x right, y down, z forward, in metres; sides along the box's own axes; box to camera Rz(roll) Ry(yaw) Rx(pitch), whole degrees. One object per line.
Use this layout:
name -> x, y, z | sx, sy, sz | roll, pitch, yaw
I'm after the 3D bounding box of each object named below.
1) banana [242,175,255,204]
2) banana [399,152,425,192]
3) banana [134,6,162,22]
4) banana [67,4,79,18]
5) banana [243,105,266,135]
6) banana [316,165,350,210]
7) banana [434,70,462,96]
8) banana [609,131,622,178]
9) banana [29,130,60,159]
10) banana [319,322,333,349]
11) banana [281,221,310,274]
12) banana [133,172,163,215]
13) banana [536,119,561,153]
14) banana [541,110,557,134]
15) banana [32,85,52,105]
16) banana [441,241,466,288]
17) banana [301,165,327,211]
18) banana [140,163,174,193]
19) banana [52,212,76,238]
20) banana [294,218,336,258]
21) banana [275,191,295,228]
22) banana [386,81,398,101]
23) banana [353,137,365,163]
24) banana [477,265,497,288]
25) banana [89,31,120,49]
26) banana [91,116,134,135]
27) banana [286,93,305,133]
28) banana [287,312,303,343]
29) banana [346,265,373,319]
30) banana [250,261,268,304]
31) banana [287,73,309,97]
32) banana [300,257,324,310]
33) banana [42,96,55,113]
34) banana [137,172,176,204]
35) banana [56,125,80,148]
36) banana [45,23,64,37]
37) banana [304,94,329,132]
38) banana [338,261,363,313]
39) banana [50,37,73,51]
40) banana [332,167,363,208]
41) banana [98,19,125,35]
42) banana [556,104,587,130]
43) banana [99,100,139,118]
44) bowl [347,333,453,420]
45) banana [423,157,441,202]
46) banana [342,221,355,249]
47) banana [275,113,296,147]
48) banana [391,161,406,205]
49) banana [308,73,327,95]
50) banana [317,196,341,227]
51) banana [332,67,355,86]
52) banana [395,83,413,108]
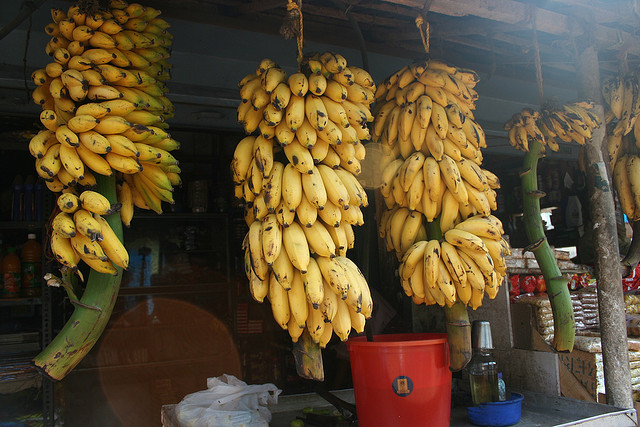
banana -> -0.362, -0.114, 2.560 | 0.053, 0.154, 0.041 | -16, -12, 4
banana -> 0.486, -0.229, 2.736 | 0.138, 0.215, 0.072 | -3, -9, 10
banana -> -0.922, -1.056, 2.758 | 0.121, 0.093, 0.055 | 1, -10, -13
banana -> -1.276, -1.045, 2.680 | 0.043, 0.061, 0.077 | 18, -1, -14
banana -> -0.344, -0.471, 2.634 | 0.102, 0.091, 0.319 | -10, -11, -12
banana -> 0.069, -0.129, 2.528 | 0.078, 0.267, 0.088 | -31, -15, 20
banana -> 0.696, -0.698, 2.759 | 0.062, 0.206, 0.070 | -47, -3, 30
banana -> 1.904, -0.383, 3.339 | 0.065, 0.326, 0.105 | -5, 5, -38
banana -> -1.384, -0.368, 2.648 | 0.184, 0.098, 0.063 | -40, -3, -36
banana -> 0.035, 0.583, 2.503 | 0.043, 0.149, 0.047 | 23, -18, -32
banana -> -0.117, 0.152, 2.481 | 0.084, 0.265, 0.087 | -13, -16, 3
banana -> -0.950, -0.125, 2.856 | 0.056, 0.208, 0.069 | -21, 22, 24
banana -> 1.332, -0.467, 3.032 | 0.049, 0.189, 0.038 | -28, 11, 34
banana -> 1.326, -0.541, 2.995 | 0.048, 0.152, 0.046 | -16, -7, 26
banana -> -1.423, -0.616, 2.659 | 0.127, 0.096, 0.058 | -3, -9, 6
banana -> 0.679, 0.250, 2.666 | 0.080, 0.255, 0.082 | -32, -12, 38
banana -> -0.028, -0.118, 2.451 | 0.072, 0.251, 0.083 | -15, -4, 16
banana -> -0.852, -0.212, 2.744 | 0.230, 0.084, 0.069 | 4, -23, 4
banana -> -1.250, 0.049, 2.522 | 0.116, 0.125, 0.073 | 0, -9, -8
banana -> -0.015, 0.111, 2.518 | 0.081, 0.282, 0.101 | -38, -16, 31
banana -> -0.167, -0.015, 2.493 | 0.062, 0.181, 0.054 | -16, -25, 16
banana -> 0.397, -0.680, 2.866 | 0.029, 0.104, 0.030 | 21, 17, -3
banana -> 0.194, -0.332, 2.629 | 0.041, 0.136, 0.047 | -18, 9, -37
banana -> 0.871, 0.328, 2.662 | 0.038, 0.164, 0.057 | -33, 8, -36
banana -> -1.103, -0.882, 2.631 | 0.130, 0.071, 0.044 | -3, -20, -22
banana -> -1.030, -0.441, 2.568 | 0.224, 0.073, 0.079 | 1, 17, -3
banana -> -0.120, -0.487, 2.476 | 0.060, 0.199, 0.067 | -3, -30, 25
banana -> -0.126, 0.542, 2.452 | 0.055, 0.159, 0.048 | -13, -2, -39
banana -> 0.216, 0.397, 2.529 | 0.099, 0.300, 0.079 | -3, -20, -31
banana -> -0.303, 0.333, 2.532 | 0.095, 0.287, 0.078 | -9, -51, 1
banana -> -0.104, -0.620, 2.491 | 0.067, 0.066, 0.131 | -13, 23, -6
banana -> -0.038, 0.326, 2.407 | 0.072, 0.256, 0.080 | 0, -32, -10
banana -> -1.421, -0.576, 2.698 | 0.051, 0.099, 0.031 | -6, 3, -13
banana -> -0.888, -0.147, 2.774 | 0.210, 0.075, 0.054 | 27, -50, -14
banana -> -1.236, -0.375, 2.527 | 0.133, 0.069, 0.052 | 36, -1, 35
banana -> -1.395, -0.956, 2.697 | 0.048, 0.059, 0.114 | 3, 10, -1
banana -> -0.022, -0.480, 2.486 | 0.067, 0.197, 0.062 | -1, -48, -15
banana -> 0.141, 0.339, 2.506 | 0.081, 0.251, 0.074 | 3, -28, -34
banana -> -1.342, -0.872, 2.693 | 0.104, 0.062, 0.057 | 6, -39, 35
banana -> 0.115, -0.116, 2.628 | 0.096, 0.084, 0.303 | -31, -26, -22
banana -> -1.073, -0.957, 2.652 | 0.170, 0.058, 0.052 | -4, 18, 17
banana -> 1.439, -0.549, 2.958 | 0.047, 0.183, 0.037 | -9, -47, -29
banana -> -1.002, -0.529, 2.614 | 0.205, 0.071, 0.065 | -5, -10, -16
bowl -> 0.367, 0.780, 2.646 | 0.447, 0.341, 0.423 | -5, -12, -1
banana -> 0.585, -0.179, 2.706 | 0.073, 0.231, 0.078 | 2, -10, 5
banana -> 0.150, 0.109, 2.605 | 0.046, 0.144, 0.038 | -6, -13, -28
banana -> -0.176, -0.386, 2.478 | 0.068, 0.198, 0.053 | -3, -33, 8
banana -> 0.422, -0.163, 2.767 | 0.069, 0.218, 0.061 | 4, -7, 11
banana -> -0.013, -0.625, 2.557 | 0.070, 0.107, 0.065 | -19, -34, -7
banana -> 0.042, -0.001, 2.484 | 0.080, 0.158, 0.053 | -20, -7, -14
banana -> 0.121, -0.681, 2.586 | 0.096, 0.077, 0.056 | 3, 20, 25
banana -> 0.457, -0.648, 2.827 | 0.061, 0.179, 0.047 | 18, -18, 3
